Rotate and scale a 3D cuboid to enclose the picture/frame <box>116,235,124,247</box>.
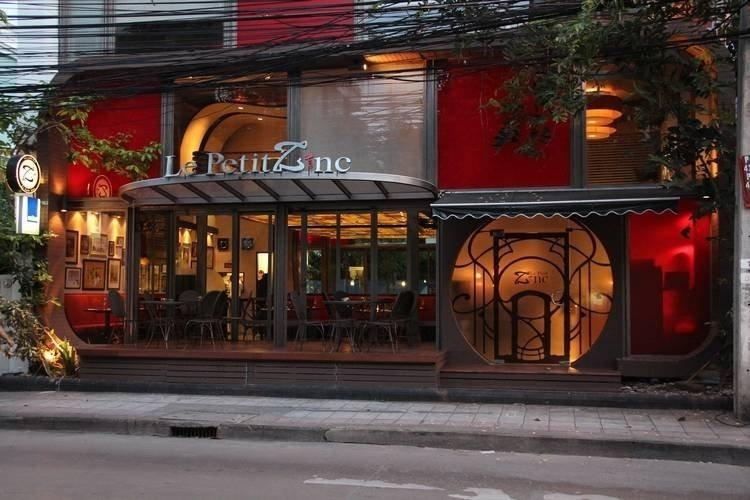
[{"bbox_3d":[-5.972,-0.211,19.593,0.179,0.235,0.253,-1,-2,-9],"label":"picture/frame"}]

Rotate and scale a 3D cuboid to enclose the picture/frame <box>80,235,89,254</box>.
[{"bbox_3d":[-6.545,-0.149,18.823,0.047,0.408,0.440,1,-1,22],"label":"picture/frame"}]

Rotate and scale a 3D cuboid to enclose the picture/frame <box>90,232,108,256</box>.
[{"bbox_3d":[-6.364,-0.156,19.224,0.045,0.503,0.576,-1,-3,25],"label":"picture/frame"}]

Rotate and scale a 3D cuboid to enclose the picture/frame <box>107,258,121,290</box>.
[{"bbox_3d":[-6.214,0.579,19.990,0.133,0.708,0.493,-2,-2,23],"label":"picture/frame"}]

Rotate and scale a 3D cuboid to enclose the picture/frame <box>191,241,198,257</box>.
[{"bbox_3d":[-4.005,-0.022,18.583,0.164,0.359,0.085,-2,-2,9],"label":"picture/frame"}]

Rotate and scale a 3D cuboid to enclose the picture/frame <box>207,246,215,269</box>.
[{"bbox_3d":[-3.650,0.160,18.666,0.165,0.492,0.143,-1,-2,-12],"label":"picture/frame"}]

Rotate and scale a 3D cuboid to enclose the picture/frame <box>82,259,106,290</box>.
[{"bbox_3d":[-6.486,0.590,19.385,0.550,0.365,0.031,-5,-3,-3],"label":"picture/frame"}]

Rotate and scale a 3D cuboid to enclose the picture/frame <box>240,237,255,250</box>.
[{"bbox_3d":[-2.827,-0.172,18.613,0.322,0.298,0.044,0,-2,-2],"label":"picture/frame"}]

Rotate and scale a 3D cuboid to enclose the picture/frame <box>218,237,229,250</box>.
[{"bbox_3d":[-3.372,-0.163,18.638,0.324,0.312,0.045,0,-1,-3],"label":"picture/frame"}]
